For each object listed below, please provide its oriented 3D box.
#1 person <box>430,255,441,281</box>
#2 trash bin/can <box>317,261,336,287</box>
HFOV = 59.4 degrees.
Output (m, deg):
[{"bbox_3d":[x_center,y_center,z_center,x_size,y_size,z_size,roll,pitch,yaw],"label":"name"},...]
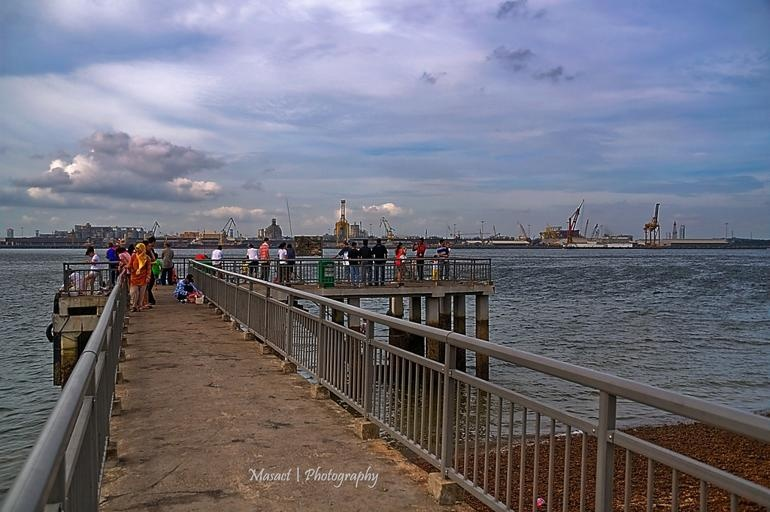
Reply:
[{"bbox_3d":[2.188,0.557,28.897,0.366,0.980,0.886,-1,4,4],"label":"person"},{"bbox_3d":[-2.265,0.682,26.361,0.602,1.038,0.596,-2,4,-14],"label":"trash bin/can"}]
